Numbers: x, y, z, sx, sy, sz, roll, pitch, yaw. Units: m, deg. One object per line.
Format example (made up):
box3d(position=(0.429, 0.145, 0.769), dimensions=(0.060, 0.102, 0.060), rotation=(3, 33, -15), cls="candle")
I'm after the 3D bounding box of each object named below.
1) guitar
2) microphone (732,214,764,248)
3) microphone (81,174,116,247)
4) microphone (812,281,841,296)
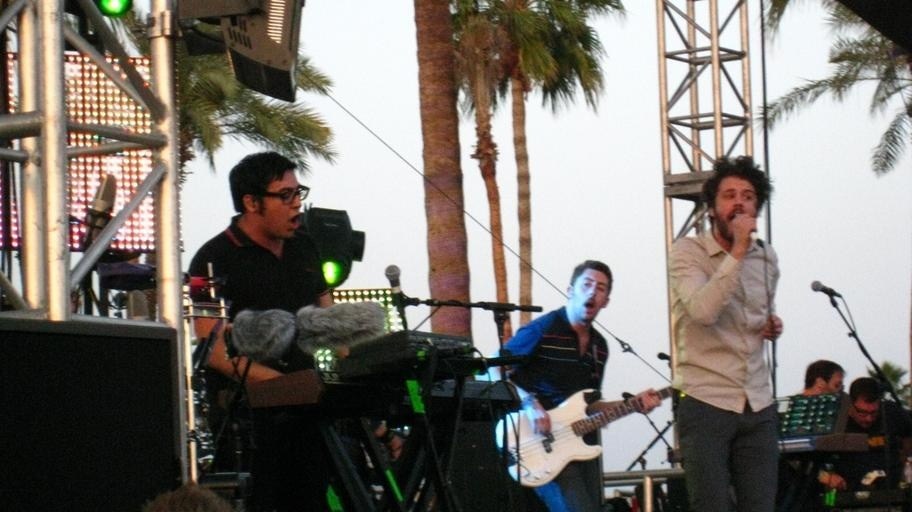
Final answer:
box3d(position=(1.265, 2.117, 18.286), dimensions=(2.728, 0.835, 0.265), rotation=(-19, -7, -21), cls="guitar")
box3d(position=(3.039, -0.267, 16.448), dimensions=(0.257, 0.353, 0.164), rotation=(6, -22, -36), cls="microphone")
box3d(position=(-3.723, -0.479, 16.469), dimensions=(0.280, 0.783, 0.305), rotation=(2, 2, -27), cls="microphone")
box3d(position=(4.831, 0.424, 20.507), dimensions=(0.409, 0.112, 0.126), rotation=(19, 4, -31), cls="microphone")
